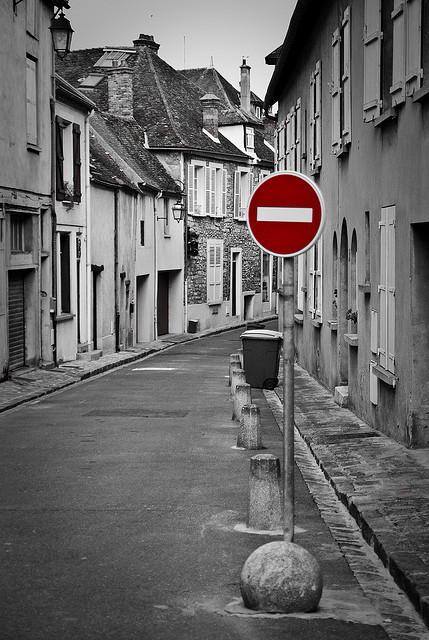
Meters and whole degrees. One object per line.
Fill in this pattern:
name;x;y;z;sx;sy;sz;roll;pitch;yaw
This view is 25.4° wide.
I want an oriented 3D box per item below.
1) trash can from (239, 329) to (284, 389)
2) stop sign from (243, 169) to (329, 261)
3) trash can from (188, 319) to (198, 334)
trash can;0.900;0.643;18.879;0.710;1.697;0.829;0;6;6
stop sign;0.406;-0.637;5.464;0.429;0.101;0.729;2;-35;4
trash can;-0.906;0.223;40.747;0.540;0.536;0.334;-2;3;-44
